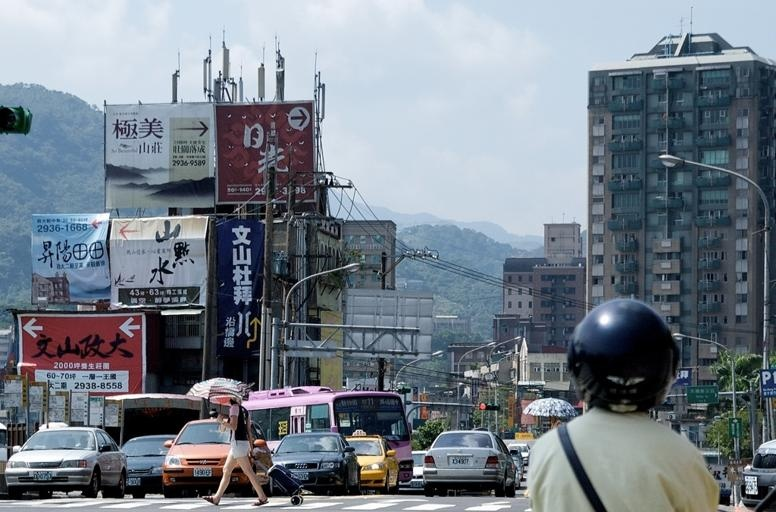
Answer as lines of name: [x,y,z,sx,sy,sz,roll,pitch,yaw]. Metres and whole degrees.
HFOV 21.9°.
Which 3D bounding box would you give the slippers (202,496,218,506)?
slippers: [-12.184,16.772,137.488,1.231,0.331,0.440,32,-21,41]
